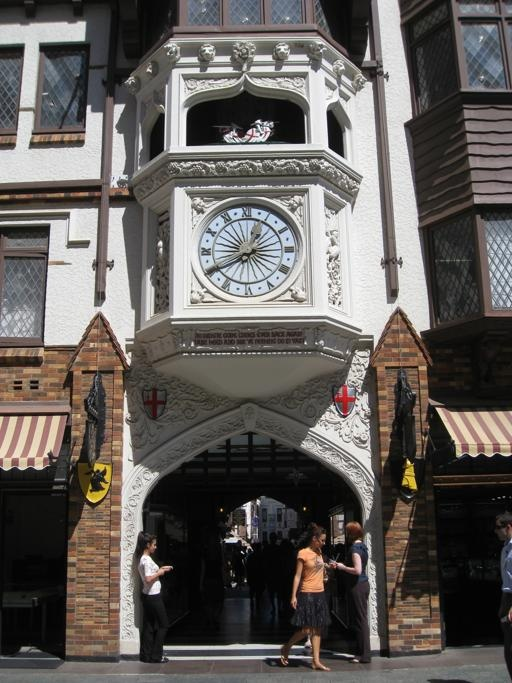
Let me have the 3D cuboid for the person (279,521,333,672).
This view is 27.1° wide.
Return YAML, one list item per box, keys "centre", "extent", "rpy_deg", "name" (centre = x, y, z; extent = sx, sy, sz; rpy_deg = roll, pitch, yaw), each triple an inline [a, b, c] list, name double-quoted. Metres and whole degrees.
- centre: [0.634, 3.384, 13.944]
  extent: [0.568, 1.832, 0.884]
  rpy_deg: [-1, -19, 1]
  name: "person"

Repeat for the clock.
- centre: [-0.098, -1.268, 15.389]
  extent: [1.608, 1.587, 0.132]
  rpy_deg: [1, -19, 1]
  name: "clock"

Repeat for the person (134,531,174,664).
- centre: [-1.436, 3.530, 14.617]
  extent: [0.454, 1.713, 0.956]
  rpy_deg: [1, -19, -6]
  name: "person"

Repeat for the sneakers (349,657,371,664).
- centre: [1.405, 4.352, 14.435]
  extent: [0.251, 0.076, 0.095]
  rpy_deg: [4, -23, 1]
  name: "sneakers"

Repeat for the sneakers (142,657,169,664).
- centre: [-1.394, 4.378, 14.664]
  extent: [0.354, 0.138, 0.117]
  rpy_deg: [1, -7, -5]
  name: "sneakers"
